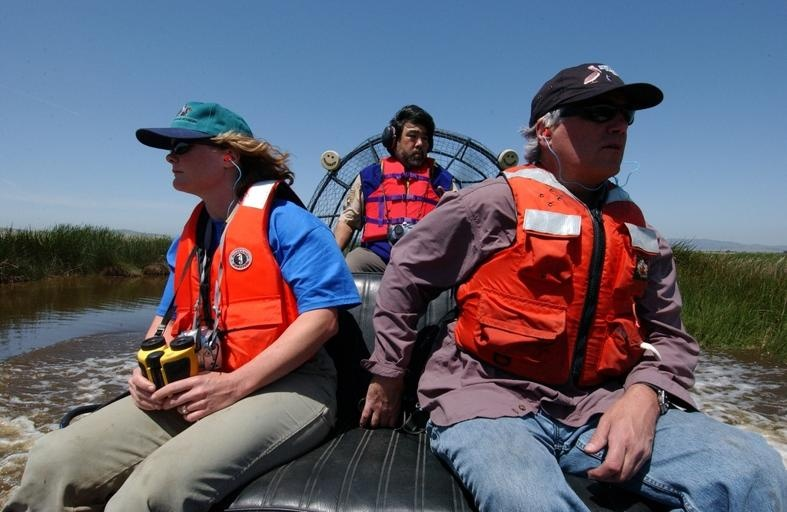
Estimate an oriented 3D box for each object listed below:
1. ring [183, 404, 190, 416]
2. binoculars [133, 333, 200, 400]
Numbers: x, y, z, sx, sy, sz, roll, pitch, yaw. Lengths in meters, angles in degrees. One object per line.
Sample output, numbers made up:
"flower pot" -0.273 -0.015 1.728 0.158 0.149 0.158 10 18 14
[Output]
"ring" -1.361 1.004 3.537 0.055 0.051 0.021 13 14 36
"binoculars" -1.470 0.672 3.544 0.358 0.151 0.353 4 38 6
